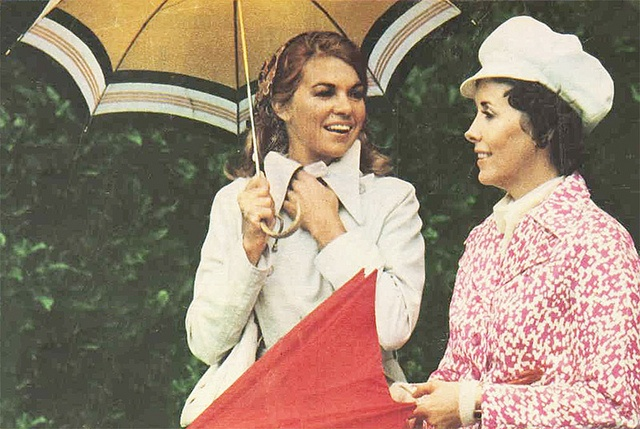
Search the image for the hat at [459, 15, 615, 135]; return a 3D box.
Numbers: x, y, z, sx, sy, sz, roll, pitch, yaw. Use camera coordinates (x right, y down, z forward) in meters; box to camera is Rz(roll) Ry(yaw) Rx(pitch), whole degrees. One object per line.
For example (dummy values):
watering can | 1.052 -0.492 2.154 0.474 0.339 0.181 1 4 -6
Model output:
hat | 1.180 -0.639 7.418 0.689 0.436 0.560 20 -19 7
